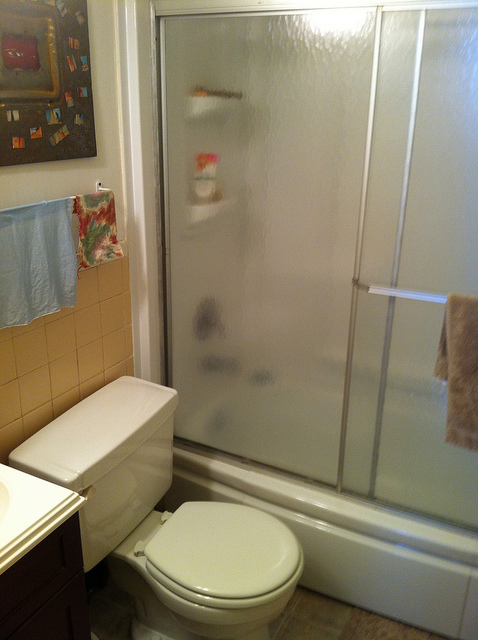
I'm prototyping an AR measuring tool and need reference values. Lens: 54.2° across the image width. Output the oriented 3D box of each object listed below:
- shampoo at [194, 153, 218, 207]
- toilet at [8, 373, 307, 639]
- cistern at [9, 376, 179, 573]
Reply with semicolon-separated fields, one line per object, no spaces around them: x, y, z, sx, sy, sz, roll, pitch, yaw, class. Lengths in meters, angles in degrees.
-0.097;-0.433;1.470;0.066;0.183;0.073;7;-14;-18;shampoo
-0.145;0.488;1.521;0.715;0.944;0.599;13;30;20;toilet
-0.380;0.434;1.306;0.237;0.397;0.499;6;12;23;cistern
